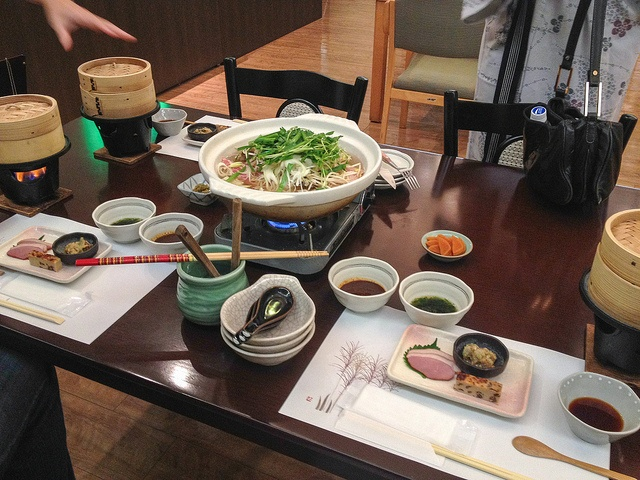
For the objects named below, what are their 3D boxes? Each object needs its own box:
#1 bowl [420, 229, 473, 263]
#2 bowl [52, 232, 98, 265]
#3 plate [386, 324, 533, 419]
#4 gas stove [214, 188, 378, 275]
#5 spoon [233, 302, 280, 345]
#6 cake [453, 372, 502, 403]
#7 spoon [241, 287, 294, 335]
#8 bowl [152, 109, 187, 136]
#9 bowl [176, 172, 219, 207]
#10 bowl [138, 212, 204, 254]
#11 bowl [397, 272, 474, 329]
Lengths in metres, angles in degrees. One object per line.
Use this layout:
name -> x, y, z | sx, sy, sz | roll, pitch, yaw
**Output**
bowl -> 0.380, -0.011, 1.289 | 0.112, 0.043, 0.111 | -2, 35, 1
bowl -> -0.705, 0.028, 1.308 | 0.112, 0.049, 0.111 | 15, 14, -4
plate -> 0.315, 0.298, 0.988 | 0.266, 0.038, 0.171 | 15, 44, 20
gas stove -> -0.112, -0.026, 1.330 | 0.320, 0.095, 0.320 | 15, 43, 17
spoon -> -0.140, 0.180, 0.994 | 0.059, 0.033, 0.124 | 30, 59, 17
cake -> 0.357, 0.314, 0.979 | 0.121, 0.046, 0.043 | 18, 5, 12
spoon -> -0.123, 0.172, 1.016 | 0.062, 0.033, 0.136 | 40, 48, 9
bowl -> -0.679, -0.541, 1.979 | 0.155, 0.075, 0.153 | 1, 44, -1
bowl -> -0.411, -0.168, 1.548 | 0.139, 0.058, 0.168 | 19, 28, 15
bowl -> -0.449, -0.022, 1.332 | 0.150, 0.072, 0.149 | 4, 44, -4
bowl -> 0.298, 0.160, 1.138 | 0.184, 0.079, 0.147 | 7, 39, 9
